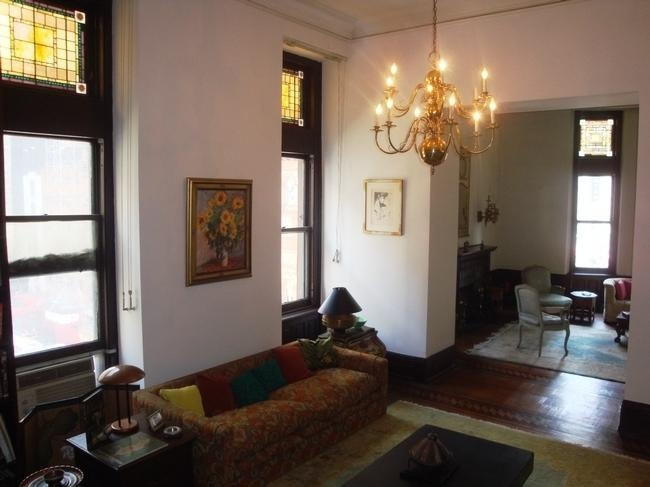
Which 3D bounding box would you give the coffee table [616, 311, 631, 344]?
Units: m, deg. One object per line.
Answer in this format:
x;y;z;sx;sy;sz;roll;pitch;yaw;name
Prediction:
5.186;1.479;8.276;0.172;0.564;0.537;5;8;31;coffee table

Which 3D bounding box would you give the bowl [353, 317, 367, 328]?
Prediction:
0.472;1.094;6.520;0.157;0.078;0.138;8;15;26;bowl

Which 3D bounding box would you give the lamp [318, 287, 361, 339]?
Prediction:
0.199;0.870;6.321;0.560;0.680;0.595;-1;2;-10;lamp

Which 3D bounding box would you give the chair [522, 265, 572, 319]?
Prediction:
4.416;1.004;9.534;0.695;1.092;0.840;-6;1;-8;chair

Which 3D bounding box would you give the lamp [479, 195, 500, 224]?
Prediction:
3.557;-0.677;10.345;0.542;0.840;0.645;-1;6;17;lamp

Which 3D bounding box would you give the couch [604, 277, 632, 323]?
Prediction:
5.944;1.180;9.560;0.525;0.872;0.597;0;7;-8;couch

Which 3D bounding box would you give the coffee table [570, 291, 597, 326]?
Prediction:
5.315;1.325;9.862;0.571;0.787;0.604;1;6;29;coffee table

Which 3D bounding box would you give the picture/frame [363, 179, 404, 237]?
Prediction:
0.857;-0.515;6.776;0.724;0.961;0.081;3;7;33;picture/frame

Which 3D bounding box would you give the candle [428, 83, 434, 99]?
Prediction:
0.841;-1.219;3.808;0.043;0.113;0.076;0;7;-8;candle

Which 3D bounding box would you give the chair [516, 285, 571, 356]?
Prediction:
3.657;1.273;8.045;0.622;1.134;0.761;-2;2;-18;chair

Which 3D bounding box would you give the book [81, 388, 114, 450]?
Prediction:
-1.951;1.512;4.049;0.119;0.380;0.335;-5;1;8;book

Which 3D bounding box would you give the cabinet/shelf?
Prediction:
2.851;0.830;9.433;1.402;1.320;0.403;-6;6;-43;cabinet/shelf
